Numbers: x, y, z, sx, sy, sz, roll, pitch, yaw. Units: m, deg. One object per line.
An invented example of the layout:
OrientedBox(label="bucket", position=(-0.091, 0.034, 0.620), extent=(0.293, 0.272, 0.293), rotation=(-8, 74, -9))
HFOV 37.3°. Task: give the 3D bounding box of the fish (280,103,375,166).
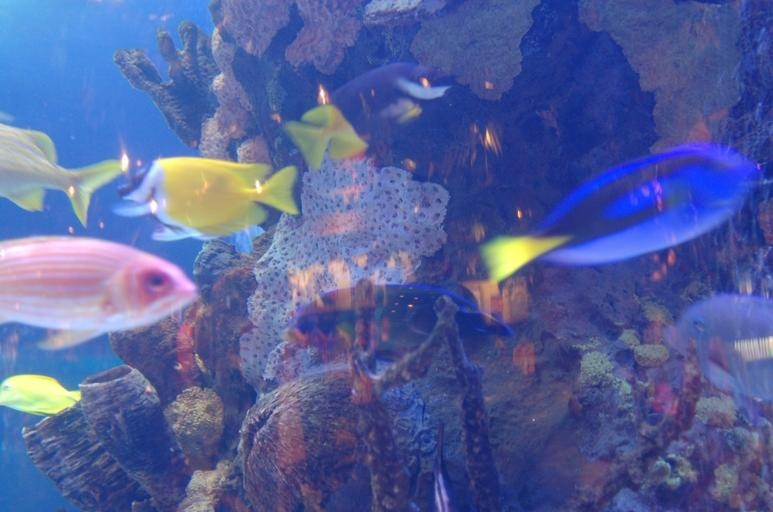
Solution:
OrientedBox(label="fish", position=(-0.492, -0.938, 8.721), extent=(0.436, 0.523, 0.065), rotation=(-1, 45, 11))
